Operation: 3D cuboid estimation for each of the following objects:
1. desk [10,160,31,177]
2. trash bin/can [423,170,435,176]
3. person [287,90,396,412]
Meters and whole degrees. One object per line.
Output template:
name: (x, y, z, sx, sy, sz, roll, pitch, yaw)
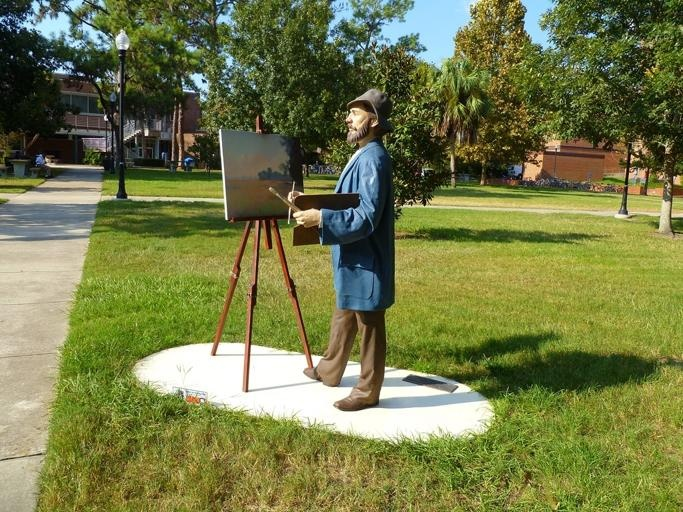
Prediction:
desk: (-17.169, -4.709, 32.705, 1.019, 1.189, 1.076, -1, 2, -29)
trash bin/can: (2.165, -2.069, 15.159, 0.276, 0.152, 0.138, 3, 10, 4)
person: (0.083, -0.055, 5.449, 0.781, 2.818, 0.840, 3, 9, 6)
